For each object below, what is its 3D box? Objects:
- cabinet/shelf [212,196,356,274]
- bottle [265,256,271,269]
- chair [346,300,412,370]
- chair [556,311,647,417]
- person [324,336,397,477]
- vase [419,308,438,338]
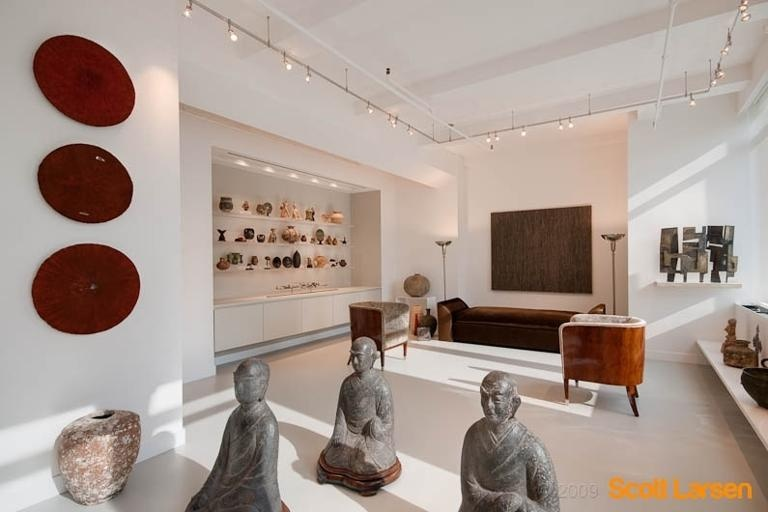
[{"bbox_3d":[-1.761,-0.385,8.582,0.355,1.319,2.963,0,-2,37],"label":"cabinet/shelf"},{"bbox_3d":[-2.075,0.118,8.283,0.122,0.246,0.262,1,-2,-12],"label":"bottle"},{"bbox_3d":[-0.100,1.231,7.462,0.796,0.956,0.885,1,2,36],"label":"chair"},{"bbox_3d":[2.801,1.333,5.996,1.067,1.238,0.980,0,-2,28],"label":"chair"},{"bbox_3d":[-0.235,1.464,4.569,0.808,1.291,0.738,4,5,22],"label":"person"},{"bbox_3d":[0.869,1.271,8.999,0.436,0.570,0.442,0,-9,2],"label":"vase"}]
